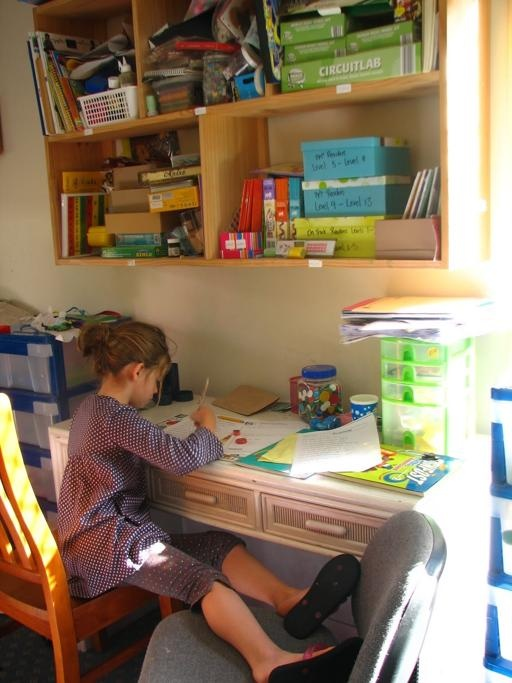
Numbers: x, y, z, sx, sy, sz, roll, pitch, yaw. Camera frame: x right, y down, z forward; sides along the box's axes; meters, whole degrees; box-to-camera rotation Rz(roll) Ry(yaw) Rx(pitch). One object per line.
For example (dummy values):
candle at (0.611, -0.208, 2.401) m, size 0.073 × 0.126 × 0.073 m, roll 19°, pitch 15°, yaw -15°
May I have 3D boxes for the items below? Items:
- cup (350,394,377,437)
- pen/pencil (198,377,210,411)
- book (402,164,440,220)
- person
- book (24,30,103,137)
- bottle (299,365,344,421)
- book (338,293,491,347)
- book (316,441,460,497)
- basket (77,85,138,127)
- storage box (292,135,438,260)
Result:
cup at (0.295, 0.199, 1.528) m, size 0.073 × 0.079 × 0.072 m, roll -1°, pitch 10°, yaw 0°
pen/pencil at (-0.181, 0.182, 1.898) m, size 0.013 × 0.116 × 0.013 m, roll 11°, pitch -21°, yaw 3°
book at (0.365, -0.326, 1.197) m, size 0.080 × 0.103 × 0.063 m, roll -3°, pitch 12°, yaw 16°
person at (-0.205, 0.333, 1.494) m, size 0.973 × 1.002 × 0.503 m, roll -3°, pitch 1°, yaw 10°
book at (-0.675, -0.892, 1.893) m, size 0.085 × 0.324 × 0.344 m, roll 8°, pitch 12°, yaw 41°
bottle at (0.191, 0.152, 1.622) m, size 0.131 × 0.170 × 0.133 m, roll -5°, pitch 11°, yaw 1°
book at (0.401, -0.058, 1.339) m, size 0.329 × 0.080 × 0.332 m, roll 0°, pitch 13°, yaw 30°
book at (0.324, 0.285, 1.228) m, size 0.214 × 0.031 × 0.250 m, roll 3°, pitch 15°, yaw 39°
basket at (-0.473, -0.755, 1.768) m, size 0.190 × 0.085 × 0.121 m, roll 6°, pitch 25°, yaw 39°
storage box at (0.321, -0.368, 1.370) m, size 0.240 × 0.311 × 0.421 m, roll -16°, pitch 15°, yaw -39°
